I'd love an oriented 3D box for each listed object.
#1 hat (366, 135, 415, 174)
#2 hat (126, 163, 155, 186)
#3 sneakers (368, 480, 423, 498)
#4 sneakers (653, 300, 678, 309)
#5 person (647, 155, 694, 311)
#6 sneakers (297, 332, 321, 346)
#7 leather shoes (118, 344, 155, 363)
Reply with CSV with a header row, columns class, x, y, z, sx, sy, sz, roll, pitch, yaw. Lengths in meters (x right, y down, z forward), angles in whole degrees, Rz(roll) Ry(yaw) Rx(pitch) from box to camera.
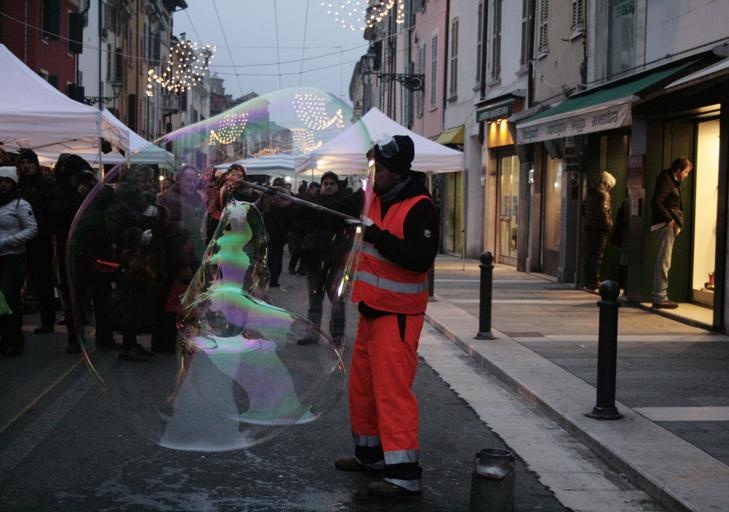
class,x,y,z,sx,sy,sz,roll,pitch,yaw
hat,0.189,-0.730,5.963,0.227,0.201,0.182,-9,48,-2
hat,-1.535,-0.575,5.834,0.166,0.149,0.129,-9,13,4
sneakers,0.204,1.625,5.879,0.354,0.158,0.134,10,-3,-11
sneakers,4.508,0.727,12.670,0.327,0.137,0.139,0,3,8
person,4.579,-0.338,12.641,0.661,2.062,0.679,-3,0,19
sneakers,-0.378,0.564,5.654,0.172,0.123,0.059,7,-3,-24
leather shoes,-1.503,0.632,5.505,0.326,0.135,0.112,-1,-2,32
